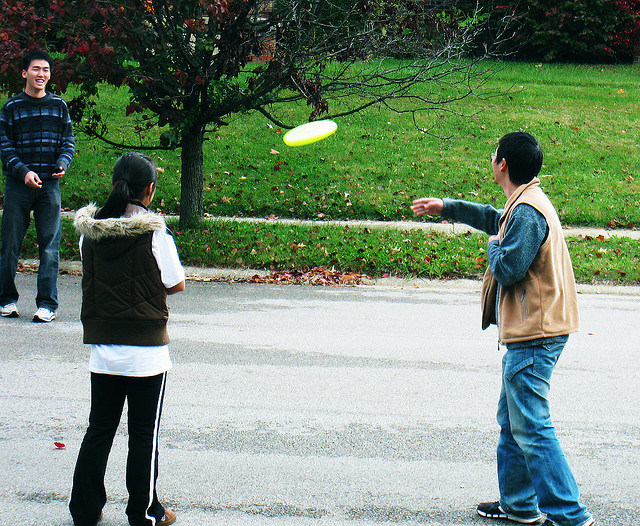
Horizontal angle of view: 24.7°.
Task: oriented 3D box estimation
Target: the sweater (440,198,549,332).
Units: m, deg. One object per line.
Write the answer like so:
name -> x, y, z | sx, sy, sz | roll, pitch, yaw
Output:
sweater -> 2.494, 0.011, 19.813 | 1.227, 1.922, 1.812 | -11, 8, -42

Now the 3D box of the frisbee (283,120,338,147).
frisbee -> -0.103, -1.982, 21.894 | 0.413, 0.146, 0.639 | 1, 24, 33

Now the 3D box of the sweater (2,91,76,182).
sweater -> -4.301, -1.950, 22.458 | 1.064, 1.354, 0.467 | 0, 8, -9
